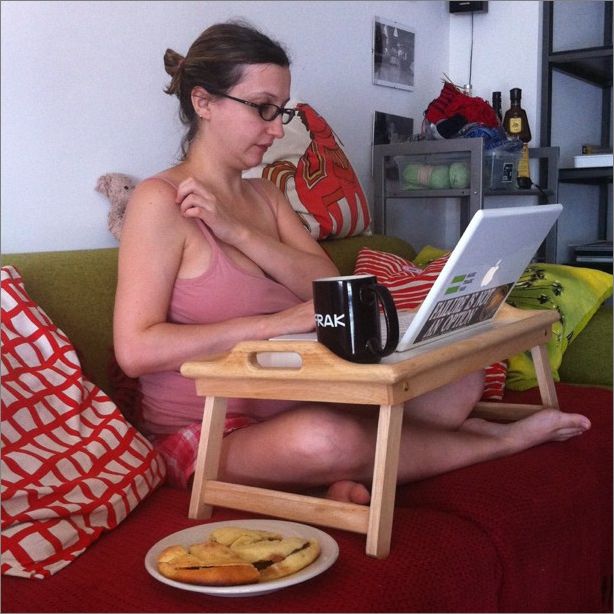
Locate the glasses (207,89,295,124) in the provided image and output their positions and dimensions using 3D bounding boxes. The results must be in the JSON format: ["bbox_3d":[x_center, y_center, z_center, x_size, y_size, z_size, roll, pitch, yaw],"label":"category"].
[{"bbox_3d":[-0.117,-0.384,1.106,0.103,0.022,0.092,21,13,16],"label":"glasses"}]

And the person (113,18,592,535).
[{"bbox_3d":[-0.007,-0.101,1.398,1.181,0.906,0.752,-2,3,19],"label":"person"}]

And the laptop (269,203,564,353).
[{"bbox_3d":[0.144,-0.013,0.807,0.280,0.145,0.296,2,9,36],"label":"laptop"}]

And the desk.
[{"bbox_3d":[0.118,0.150,0.922,0.386,0.278,0.571,-1,3,38],"label":"desk"}]

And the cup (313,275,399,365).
[{"bbox_3d":[0.053,0.014,0.635,0.086,0.098,0.081,-4,2,0],"label":"cup"}]

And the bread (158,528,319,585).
[{"bbox_3d":[-0.070,0.258,0.610,0.153,0.030,0.121,-2,2,16],"label":"bread"}]
